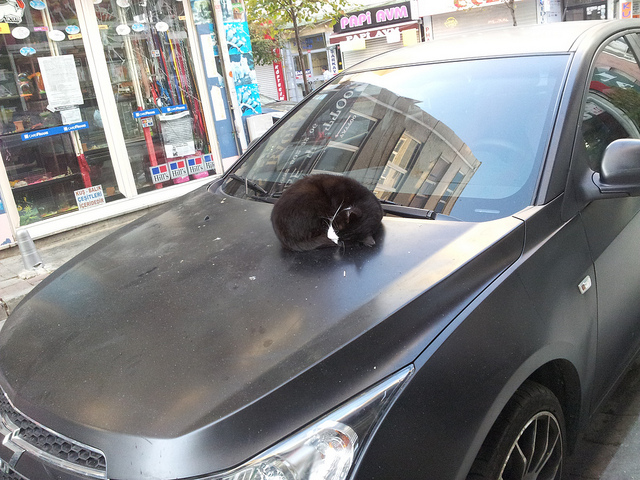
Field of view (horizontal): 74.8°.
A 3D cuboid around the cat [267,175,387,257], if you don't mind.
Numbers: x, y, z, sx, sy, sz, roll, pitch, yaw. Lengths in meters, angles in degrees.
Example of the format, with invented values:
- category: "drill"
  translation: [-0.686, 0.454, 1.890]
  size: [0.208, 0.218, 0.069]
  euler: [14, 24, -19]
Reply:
- category: "cat"
  translation: [0.048, -0.127, 1.911]
  size: [0.422, 0.216, 0.347]
  euler: [-2, 47, 0]

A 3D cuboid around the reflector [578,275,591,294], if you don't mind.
- category: "reflector"
  translation: [1.142, 0.194, 1.814]
  size: [0.066, 0.045, 0.012]
  euler: [-40, 27, -26]
